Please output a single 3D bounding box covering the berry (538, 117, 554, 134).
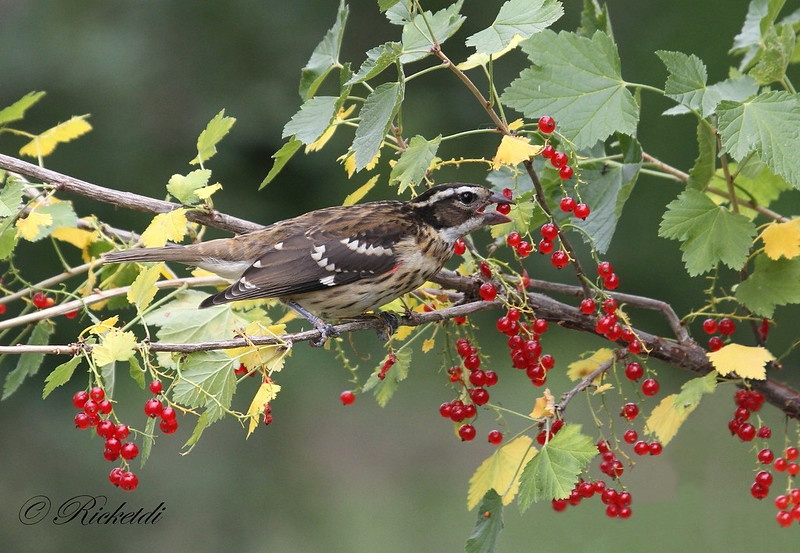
[{"bbox_3d":[0.804,-0.831,4.721,0.093,0.086,0.105,-1,15,-14],"label":"berry"}]
